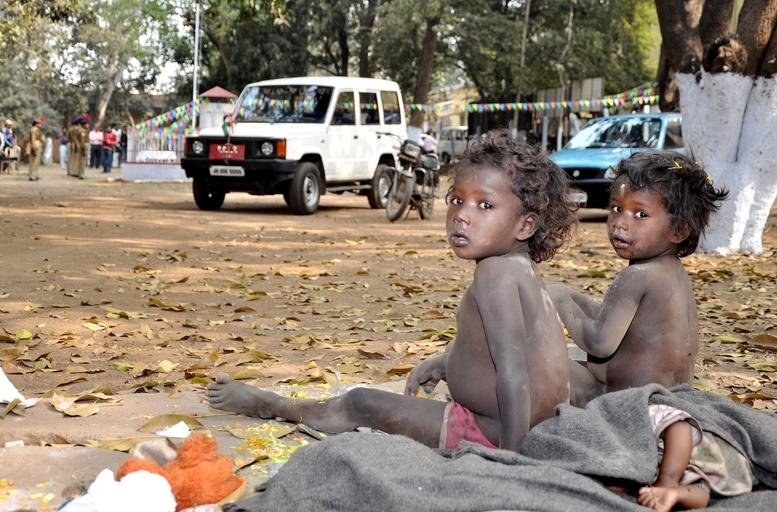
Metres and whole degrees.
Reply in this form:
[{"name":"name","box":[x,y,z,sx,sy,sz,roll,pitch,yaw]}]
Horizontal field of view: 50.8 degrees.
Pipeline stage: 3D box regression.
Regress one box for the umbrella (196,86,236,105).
[{"name":"umbrella","box":[-5.091,-4.735,24.304,0.995,0.432,1.000,1,5,5]}]
